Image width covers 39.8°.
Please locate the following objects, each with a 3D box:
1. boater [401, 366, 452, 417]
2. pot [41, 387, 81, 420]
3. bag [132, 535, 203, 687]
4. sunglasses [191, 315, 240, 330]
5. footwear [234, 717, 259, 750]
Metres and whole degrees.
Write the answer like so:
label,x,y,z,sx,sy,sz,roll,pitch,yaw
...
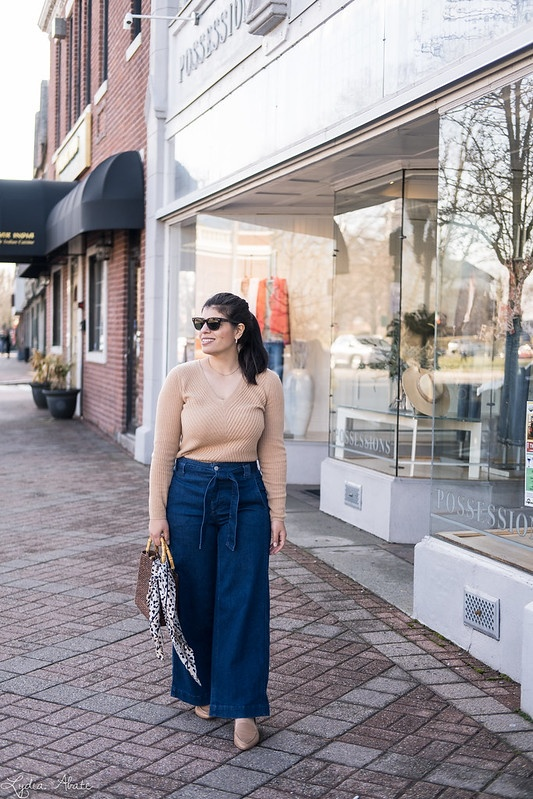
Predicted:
label,x,y,z,sx,sy,sz,roll,pitch,yaw
boater,1.333,-0.032,5.791,0.087,0.375,0.380,-33,-32,33
pot,-4.573,0.082,16.406,0.699,0.508,0.694,-2,-1,0
bag,-0.360,0.797,2.707,0.240,0.585,0.305,1,2,-3
sunglasses,-0.196,-0.279,2.699,0.081,0.027,0.084,6,-4,-44
footwear,-0.070,1.185,2.609,0.050,0.049,0.124,-1,2,-4
